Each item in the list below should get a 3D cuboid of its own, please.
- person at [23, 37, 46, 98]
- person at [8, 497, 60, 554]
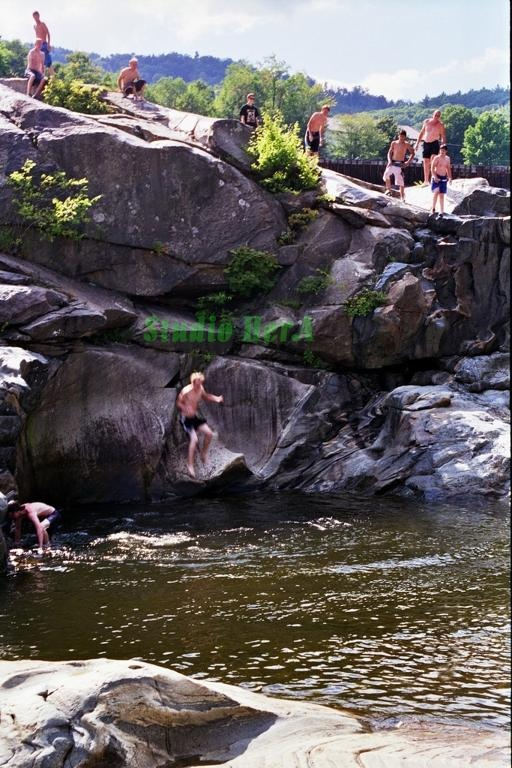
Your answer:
[{"bbox_3d":[-4.597,-6.605,18.390,0.392,1.217,0.975,-3,5,-13],"label":"person"},{"bbox_3d":[-2.847,1.718,11.282,0.614,0.559,1.138,-3,4,-12],"label":"person"}]
